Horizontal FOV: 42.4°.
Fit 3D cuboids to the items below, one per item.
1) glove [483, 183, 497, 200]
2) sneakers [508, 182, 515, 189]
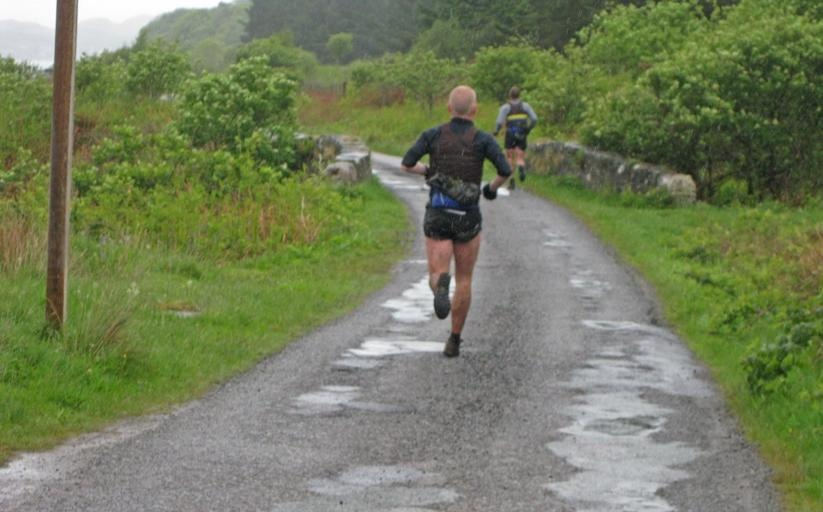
[{"bbox_3d":[1.337,-1.127,18.101,0.215,0.267,0.107,4,13,36],"label":"glove"},{"bbox_3d":[2.817,-2.015,29.857,0.109,0.200,0.212,1,22,1],"label":"sneakers"}]
